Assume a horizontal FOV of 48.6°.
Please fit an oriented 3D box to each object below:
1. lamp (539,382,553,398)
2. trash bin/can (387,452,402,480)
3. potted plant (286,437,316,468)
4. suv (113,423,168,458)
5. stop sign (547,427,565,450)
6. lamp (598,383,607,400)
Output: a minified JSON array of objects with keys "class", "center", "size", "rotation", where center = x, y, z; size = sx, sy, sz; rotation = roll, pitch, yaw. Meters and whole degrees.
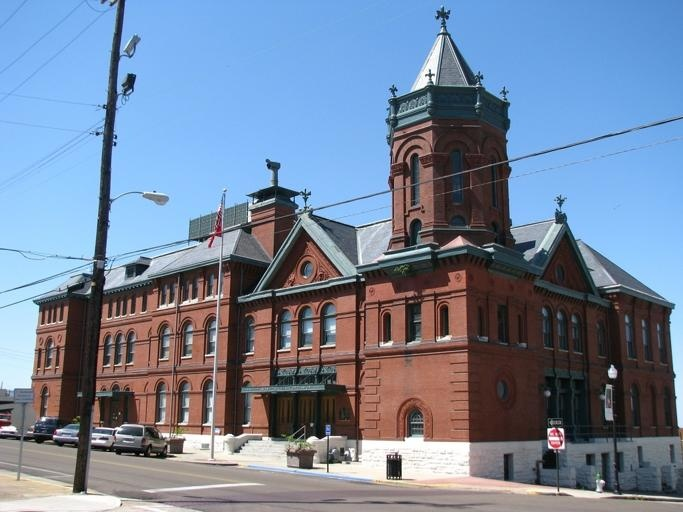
[{"class":"lamp","center":[12.211,8.030,45.386],"size":[0.356,1.094,1.096],"rotation":[-8,-11,38]},{"class":"trash bin/can","center":[2.488,10.085,36.268],"size":[0.738,1.153,0.627],"rotation":[-1,-20,3]},{"class":"potted plant","center":[-2.311,10.510,40.304],"size":[1.060,1.615,1.870],"rotation":[13,-23,-31]},{"class":"suv","center":[-11.526,10.613,43.714],"size":[1.681,1.360,3.184],"rotation":[-3,-12,10]},{"class":"stop sign","center":[9.368,7.870,32.978],"size":[0.645,1.007,1.242],"rotation":[-4,-20,12]},{"class":"lamp","center":[17.215,8.891,49.984],"size":[0.343,1.249,1.126],"rotation":[-8,-21,23]}]
